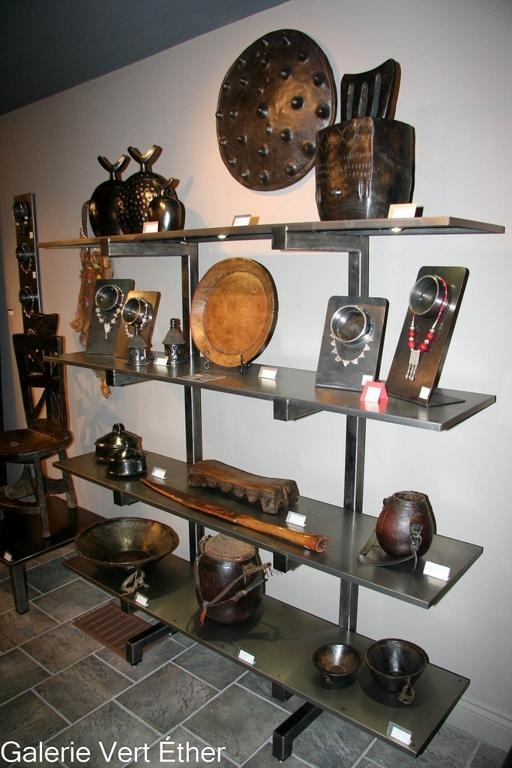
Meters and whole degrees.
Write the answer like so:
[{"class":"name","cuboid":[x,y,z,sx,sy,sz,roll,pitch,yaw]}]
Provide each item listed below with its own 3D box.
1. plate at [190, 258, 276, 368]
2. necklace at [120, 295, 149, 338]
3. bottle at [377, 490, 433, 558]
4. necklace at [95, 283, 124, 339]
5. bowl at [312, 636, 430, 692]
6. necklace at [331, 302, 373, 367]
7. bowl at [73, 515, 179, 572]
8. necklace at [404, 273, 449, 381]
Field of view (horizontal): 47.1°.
[{"class":"plate","cuboid":[-0.064,-0.217,1.946,0.060,0.347,0.334,0,23,-43]},{"class":"necklace","cuboid":[-0.440,-0.251,2.174,0.056,0.140,0.122,1,-31,-44]},{"class":"bottle","cuboid":[0.395,0.379,1.542,0.139,0.166,0.141,6,6,43]},{"class":"necklace","cuboid":[-0.591,-0.305,2.329,0.021,0.190,0.127,9,12,41]},{"class":"bowl","cuboid":[0.328,0.792,1.691,0.251,0.052,0.162,-2,13,-4]},{"class":"necklace","cuboid":[0.253,-0.137,1.571,0.109,0.155,0.036,4,2,43]},{"class":"bowl","cuboid":[-0.486,0.623,2.249,0.350,0.088,0.370,5,10,-1]},{"class":"necklace","cuboid":[0.414,-0.140,1.456,0.073,0.256,0.128,-5,11,-29]}]
